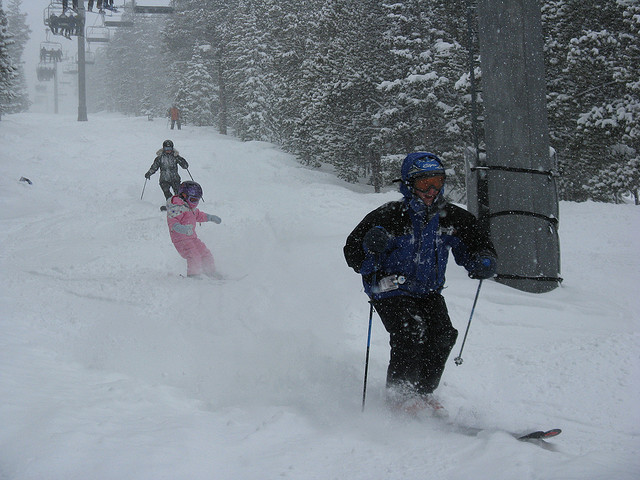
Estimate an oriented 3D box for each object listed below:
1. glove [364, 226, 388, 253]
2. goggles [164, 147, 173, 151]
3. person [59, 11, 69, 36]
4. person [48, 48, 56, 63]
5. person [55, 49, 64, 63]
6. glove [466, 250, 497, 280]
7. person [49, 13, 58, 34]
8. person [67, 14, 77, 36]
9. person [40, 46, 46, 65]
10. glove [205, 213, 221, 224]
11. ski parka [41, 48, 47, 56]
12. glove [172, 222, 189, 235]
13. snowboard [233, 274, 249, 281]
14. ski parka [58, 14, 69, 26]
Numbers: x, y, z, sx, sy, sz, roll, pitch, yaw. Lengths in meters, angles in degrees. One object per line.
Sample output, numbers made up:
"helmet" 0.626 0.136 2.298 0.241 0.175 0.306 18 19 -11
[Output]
"glove" 0.850 0.008 10.611 0.349 0.338 0.240 5 14 4
"goggles" -4.400 -2.617 20.275 0.223 0.117 0.153 -3 17 -25
"person" -13.160 -11.060 35.875 0.444 1.196 1.609 -1 16 -20
"person" -19.913 -13.682 51.925 0.438 1.019 1.706 -2 16 -21
"person" -19.372 -13.624 51.655 0.403 0.803 1.438 0 16 -17
"glove" 2.524 0.398 10.945 0.449 0.468 0.284 8 15 14
"person" -13.790 -11.124 36.094 0.396 0.991 1.078 -2 16 -21
"person" -12.716 -10.940 35.608 0.318 0.986 1.405 -2 16 -21
"person" -20.394 -13.688 51.343 0.385 0.980 1.149 -2 16 -23
"glove" -2.646 -0.507 17.205 0.162 0.235 0.527 5 15 -44
"ski parka" -20.269 -13.718 51.122 0.230 0.501 0.710 6 15 7
"glove" -3.066 -0.218 15.359 0.356 0.263 0.190 2 15 -9
"snowboard" -1.814 0.847 15.667 0.213 0.022 0.535 9 16 13
"ski parka" -13.103 -11.169 35.640 0.387 0.560 0.780 -1 16 -20
